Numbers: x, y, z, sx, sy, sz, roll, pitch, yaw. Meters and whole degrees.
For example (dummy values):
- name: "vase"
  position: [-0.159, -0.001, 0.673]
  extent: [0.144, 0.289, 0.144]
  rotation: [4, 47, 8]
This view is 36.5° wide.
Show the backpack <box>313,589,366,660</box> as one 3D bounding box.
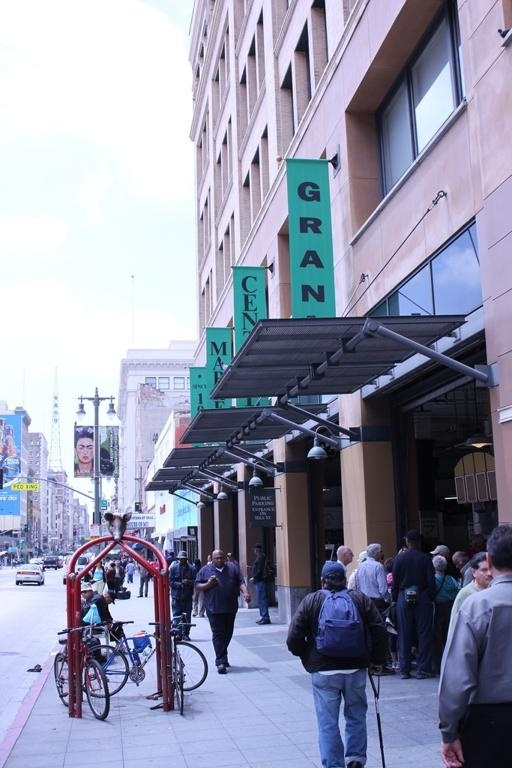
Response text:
- name: "backpack"
  position: [0.584, 1.642, 5.346]
  extent: [0.331, 0.470, 0.250]
  rotation: [3, -18, -5]

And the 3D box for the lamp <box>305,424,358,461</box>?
- name: "lamp"
  position: [1.343, 1.108, 14.254]
  extent: [1.231, 0.634, 0.435]
  rotation: [8, -17, -33]

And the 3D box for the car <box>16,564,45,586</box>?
- name: "car"
  position: [-14.704, 12.598, 51.031]
  extent: [1.040, 0.853, 2.470]
  rotation: [1, -2, -7]

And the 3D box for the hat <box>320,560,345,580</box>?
- name: "hat"
  position: [0.559, 1.352, 5.565]
  extent: [0.126, 0.105, 0.195]
  rotation: [3, 6, 31]

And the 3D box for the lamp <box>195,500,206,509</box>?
- name: "lamp"
  position: [-2.179, 4.755, 31.075]
  extent: [0.397, 0.429, 0.592]
  rotation: [-2, -17, -5]
